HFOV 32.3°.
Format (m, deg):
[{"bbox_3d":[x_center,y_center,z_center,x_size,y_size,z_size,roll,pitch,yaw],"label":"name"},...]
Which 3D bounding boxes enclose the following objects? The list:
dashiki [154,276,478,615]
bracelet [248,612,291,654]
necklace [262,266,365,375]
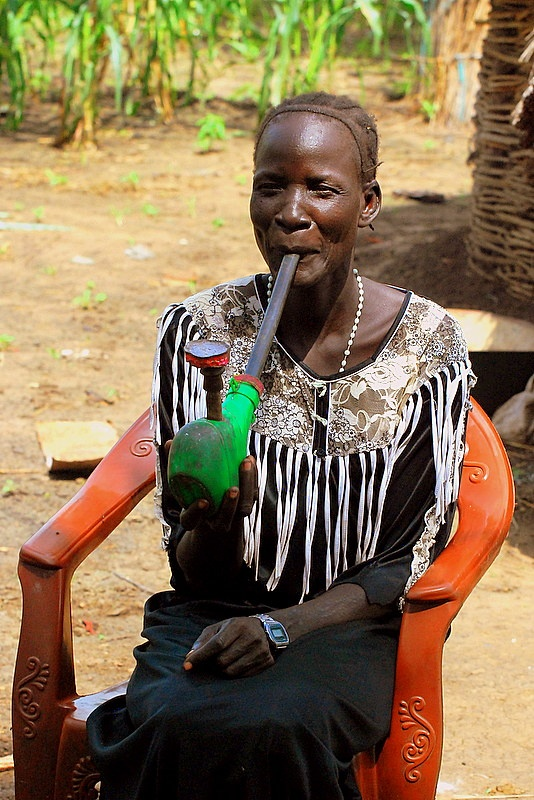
[{"bbox_3d":[0.095,0.099,1.785,0.838,0.635,0.414,2,7,3],"label":"dashiki"},{"bbox_3d":[0.015,0.415,1.646,0.050,0.073,0.070,-19,61,-33],"label":"bracelet"},{"bbox_3d":[0.093,-0.152,1.817,0.212,0.225,0.028,2,-3,2],"label":"necklace"}]
